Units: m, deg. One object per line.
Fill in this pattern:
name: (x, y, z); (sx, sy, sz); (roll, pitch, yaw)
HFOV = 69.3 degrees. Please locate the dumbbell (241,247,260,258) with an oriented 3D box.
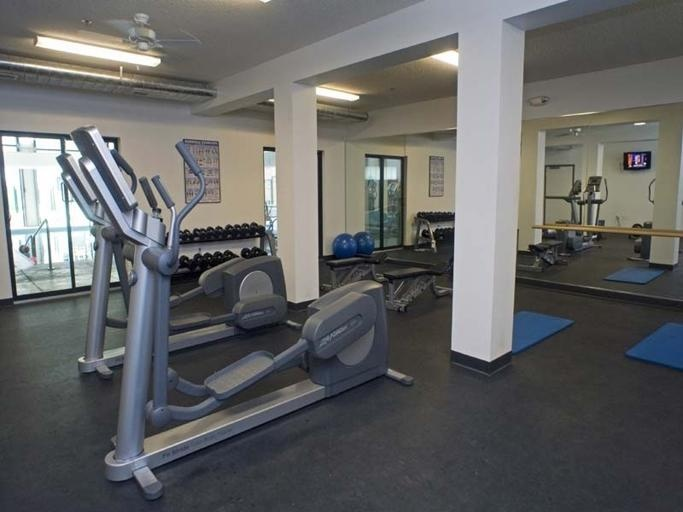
dumbbell: (-1.274, -0.051, 7.040); (0.200, 0.086, 0.215); (-3, 5, 30)

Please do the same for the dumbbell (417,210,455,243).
dumbbell: (1.313, -0.421, 7.000); (0.278, 0.408, 0.597); (1, 0, -6)

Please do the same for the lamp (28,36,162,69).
lamp: (-2.329, -2.001, 4.767); (1.079, 0.203, 0.336); (-5, 8, -20)

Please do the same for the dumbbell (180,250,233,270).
dumbbell: (-1.800, 0.081, 6.665); (0.734, 0.269, 0.325); (-6, 8, -23)

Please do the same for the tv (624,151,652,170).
tv: (6.044, -1.967, 10.103); (0.204, 0.343, 0.388); (1, -3, -37)
